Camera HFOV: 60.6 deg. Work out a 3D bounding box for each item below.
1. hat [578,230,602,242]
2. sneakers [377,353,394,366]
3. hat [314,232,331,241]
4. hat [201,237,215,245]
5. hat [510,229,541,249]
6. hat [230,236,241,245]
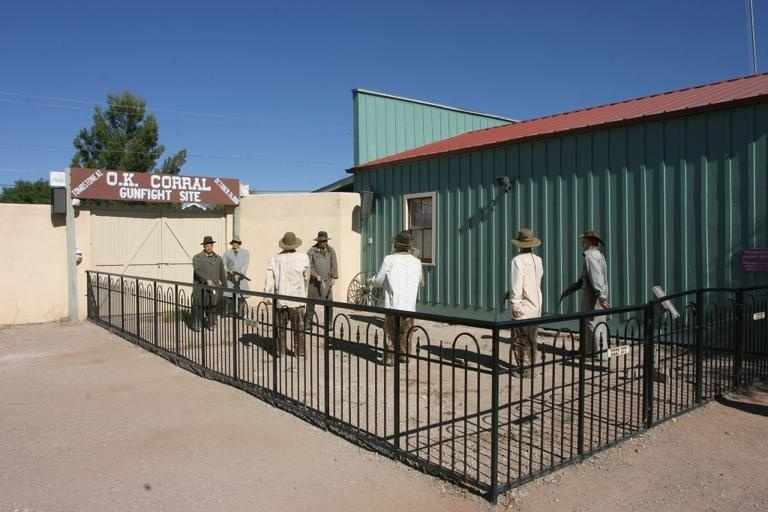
[{"bbox_3d":[3.314,-0.325,10.605,0.337,0.179,0.400,5,3,9],"label":"hat"},{"bbox_3d":[0.029,1.392,8.728,0.184,0.275,0.651,0,-10,-2],"label":"sneakers"},{"bbox_3d":[-1.325,-0.421,14.025,0.335,0.192,0.346,2,6,37],"label":"hat"},{"bbox_3d":[-3.615,-0.318,13.476,0.317,0.156,0.378,1,-4,-15],"label":"hat"},{"bbox_3d":[2.305,-0.257,10.814,0.470,0.215,0.522,0,10,-1],"label":"hat"},{"bbox_3d":[-3.154,-0.327,14.040,0.207,0.106,0.259,1,1,-4],"label":"hat"}]
